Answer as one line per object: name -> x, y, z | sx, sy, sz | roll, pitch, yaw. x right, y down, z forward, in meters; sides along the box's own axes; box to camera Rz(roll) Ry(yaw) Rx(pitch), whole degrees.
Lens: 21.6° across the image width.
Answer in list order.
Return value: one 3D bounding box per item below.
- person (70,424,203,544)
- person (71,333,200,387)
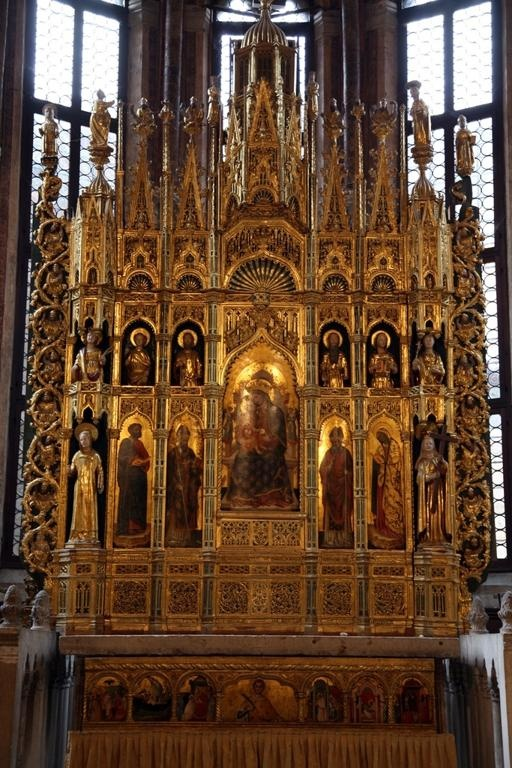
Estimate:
person -> -1.345, 1.155, 14.928 | 1.215, 1.805, 0.508 | 2, -21, -19
person -> -1.321, -0.330, 15.350 | 1.481, 0.678, 0.485 | 2, -3, -9
